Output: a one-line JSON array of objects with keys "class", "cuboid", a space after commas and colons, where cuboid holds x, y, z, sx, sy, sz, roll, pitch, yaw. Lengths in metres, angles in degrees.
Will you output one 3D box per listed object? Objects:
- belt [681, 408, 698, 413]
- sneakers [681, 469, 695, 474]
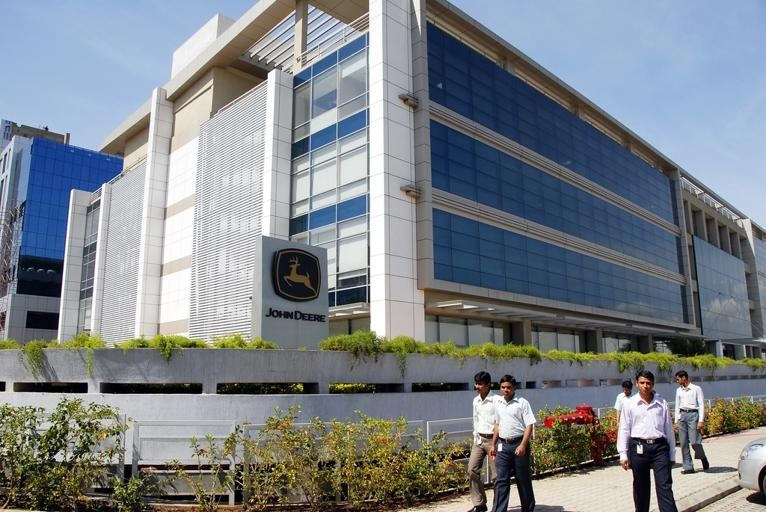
[{"class": "belt", "cuboid": [9.477, 4.802, 18.716, 0.483, 0.102, 0.128, -5, -16, 11]}, {"class": "sneakers", "cuboid": [9.080, 6.445, 18.037, 0.432, 0.165, 0.133, 11, -19, -14]}]
